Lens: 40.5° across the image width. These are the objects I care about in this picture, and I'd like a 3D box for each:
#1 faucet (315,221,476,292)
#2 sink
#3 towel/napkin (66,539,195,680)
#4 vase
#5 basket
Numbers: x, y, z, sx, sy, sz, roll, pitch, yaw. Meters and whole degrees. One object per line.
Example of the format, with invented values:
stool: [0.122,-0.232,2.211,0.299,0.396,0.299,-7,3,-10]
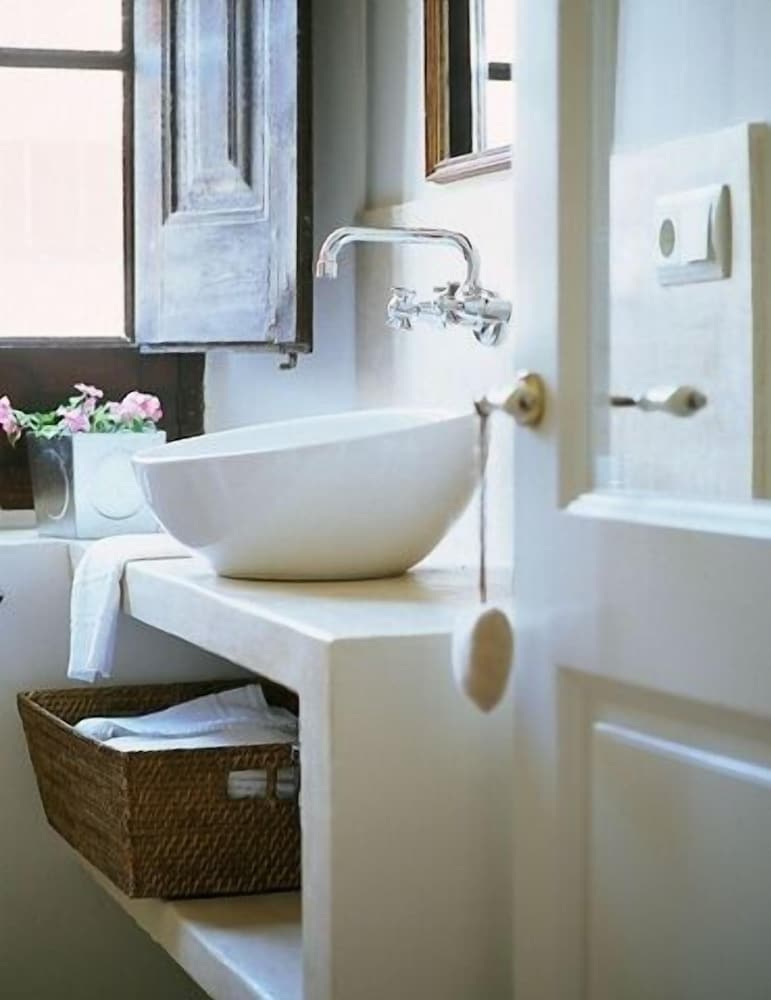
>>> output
faucet: [0.020,-0.322,1.359,0.200,0.089,0.180,0,9,3]
sink: [-0.082,0.002,1.210,0.271,0.153,0.275,-1,2,5]
towel/napkin: [-0.393,0.145,1.518,0.104,0.174,0.169,-15,3,4]
vase: [-0.538,-0.035,1.950,0.230,0.198,0.243,-1,4,-16]
basket: [-0.303,0.338,1.398,0.248,0.149,0.375,2,-8,-23]
